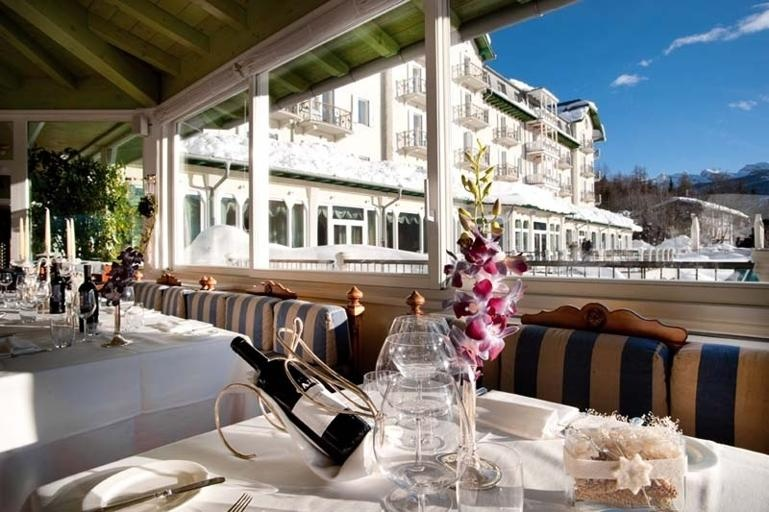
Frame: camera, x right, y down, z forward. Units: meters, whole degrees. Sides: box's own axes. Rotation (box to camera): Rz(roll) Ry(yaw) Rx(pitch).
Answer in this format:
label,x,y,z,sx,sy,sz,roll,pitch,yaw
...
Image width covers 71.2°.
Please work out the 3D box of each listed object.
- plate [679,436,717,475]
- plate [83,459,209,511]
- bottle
label,x,y,z,sx,sy,sz,roll,pitch,yaw
plate,1.096,0.681,1.846,0.102,0.075,0.182,0,-1,32
plate,-0.786,0.738,1.752,0.197,0.028,0.199,2,3,-12
bottle,-0.290,0.495,1.829,0.496,0.408,0.087,0,-1,20
